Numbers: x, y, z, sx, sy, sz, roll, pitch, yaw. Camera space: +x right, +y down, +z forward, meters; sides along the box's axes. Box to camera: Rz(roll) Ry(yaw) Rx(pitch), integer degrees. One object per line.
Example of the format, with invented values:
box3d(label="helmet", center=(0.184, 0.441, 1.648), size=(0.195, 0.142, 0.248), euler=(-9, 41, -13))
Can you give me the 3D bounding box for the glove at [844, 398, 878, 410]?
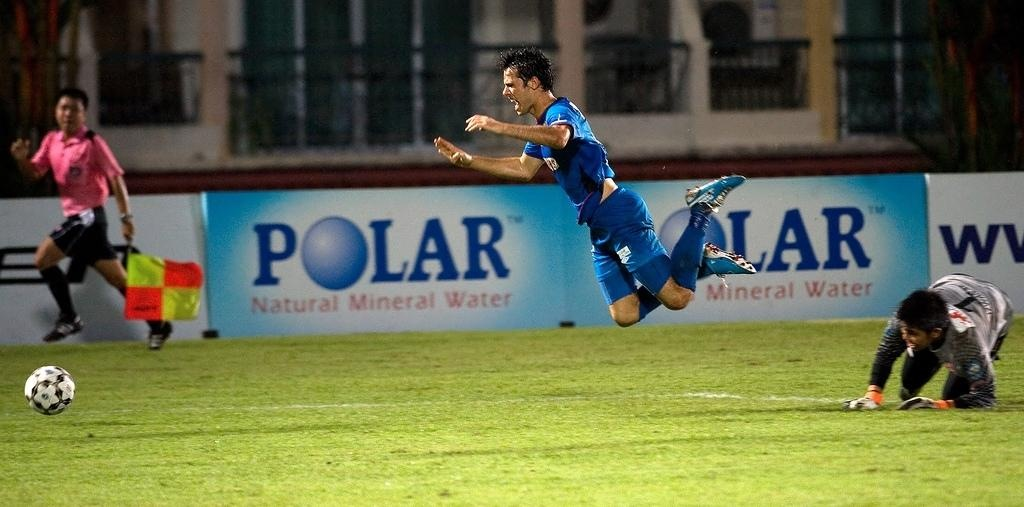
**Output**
box3d(label="glove", center=(4.403, 1.859, 19.313), size=(0.289, 0.081, 0.187), euler=(0, -4, -30))
